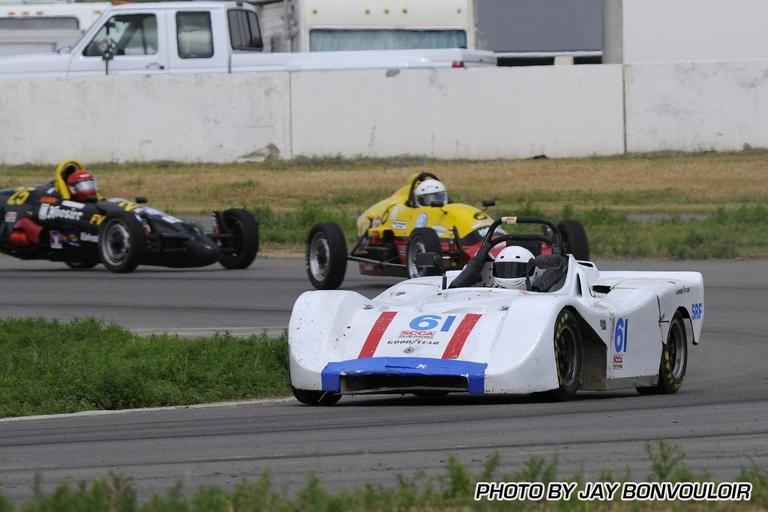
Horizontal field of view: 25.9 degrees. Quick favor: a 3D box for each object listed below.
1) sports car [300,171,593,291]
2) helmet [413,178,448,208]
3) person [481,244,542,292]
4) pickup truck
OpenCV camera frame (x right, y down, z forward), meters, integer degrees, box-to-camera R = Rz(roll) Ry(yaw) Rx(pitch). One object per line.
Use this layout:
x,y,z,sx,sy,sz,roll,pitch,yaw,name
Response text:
0.246,-0.358,29.118,2.437,1.382,3.818,-3,0,-35,sports car
0.829,-1.071,29.621,0.445,0.537,0.547,-10,-21,-11,helmet
1.877,0.175,23.915,0.626,0.661,0.783,1,8,21,person
-2.737,-4.584,36.137,7.591,1.172,1.905,0,10,-3,pickup truck
